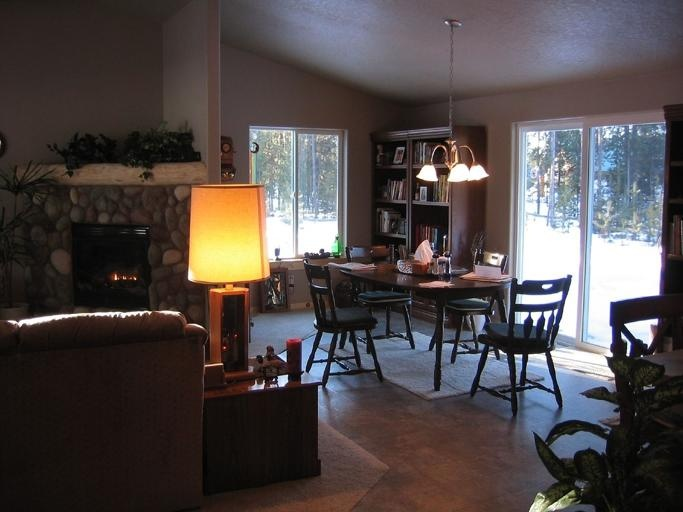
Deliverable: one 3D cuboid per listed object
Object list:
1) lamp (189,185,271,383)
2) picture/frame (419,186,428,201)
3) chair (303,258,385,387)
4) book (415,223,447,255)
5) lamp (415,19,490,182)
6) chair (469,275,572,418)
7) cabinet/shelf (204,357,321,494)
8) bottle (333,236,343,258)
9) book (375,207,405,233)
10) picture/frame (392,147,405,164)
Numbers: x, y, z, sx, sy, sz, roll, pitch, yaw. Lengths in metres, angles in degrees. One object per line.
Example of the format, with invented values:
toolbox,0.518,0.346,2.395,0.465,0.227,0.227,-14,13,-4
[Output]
lamp,-0.663,0.151,3.142,0.451,1.147,0.350,-2,9,-9
picture/frame,1.051,-0.811,6.814,0.020,0.286,0.148,-5,11,-36
chair,-0.174,0.537,5.509,0.988,1.677,0.904,-2,7,-12
book,1.162,-0.246,6.792,0.305,0.273,0.820,-1,10,-6
lamp,1.247,-1.733,5.905,0.917,1.963,1.213,-1,11,1
chair,1.656,0.614,4.831,0.723,1.126,1.668,4,10,23
cabinet/shelf,-0.479,0.973,3.219,0.720,0.560,0.705,-1,-1,-18
bottle,-0.062,-0.156,7.640,0.180,0.295,0.149,-3,10,-14
book,0.671,-0.487,7.491,0.444,0.453,0.332,0,4,-1
picture/frame,0.773,-1.379,7.281,0.034,0.324,0.274,11,6,-28
